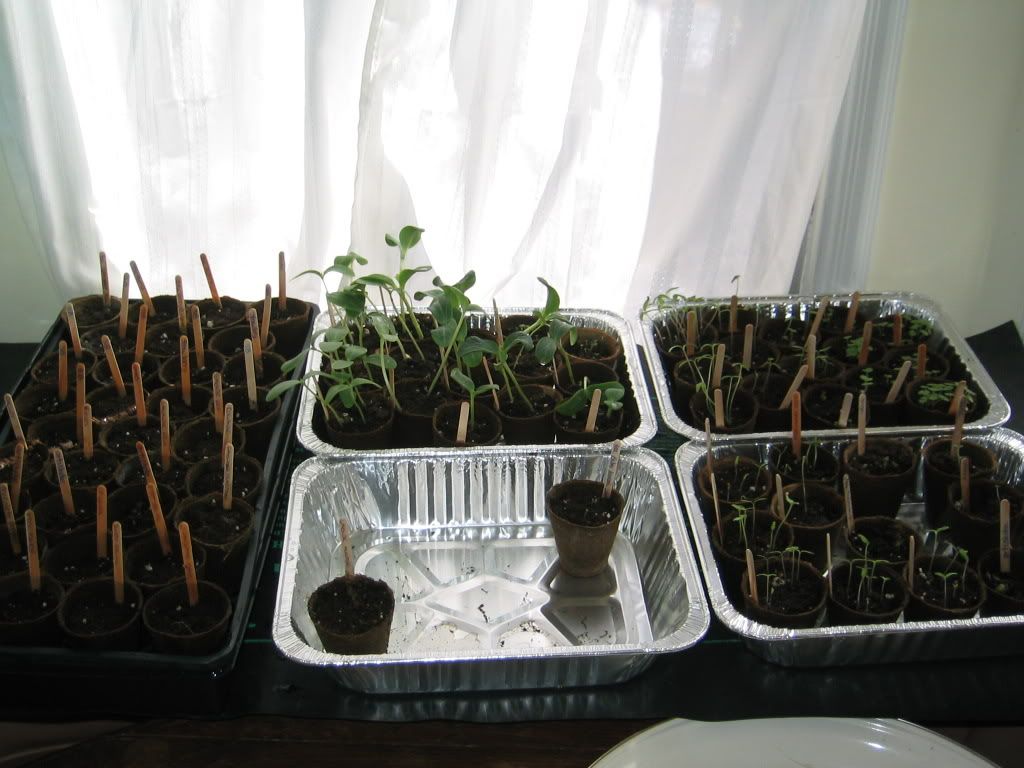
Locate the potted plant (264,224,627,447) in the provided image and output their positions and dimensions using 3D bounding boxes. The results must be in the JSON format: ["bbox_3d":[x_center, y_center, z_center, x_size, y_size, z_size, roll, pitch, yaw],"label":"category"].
[{"bbox_3d":[-0.129,-0.053,2.317,0.785,0.279,0.700,1,45,-7],"label":"potted plant"}]

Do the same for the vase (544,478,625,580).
[{"bbox_3d":[0.176,0.364,2.019,0.179,0.182,0.196,4,24,6],"label":"vase"}]

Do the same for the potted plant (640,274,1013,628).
[{"bbox_3d":[0.874,-0.013,2.347,0.926,0.329,0.802,1,31,-4],"label":"potted plant"}]
